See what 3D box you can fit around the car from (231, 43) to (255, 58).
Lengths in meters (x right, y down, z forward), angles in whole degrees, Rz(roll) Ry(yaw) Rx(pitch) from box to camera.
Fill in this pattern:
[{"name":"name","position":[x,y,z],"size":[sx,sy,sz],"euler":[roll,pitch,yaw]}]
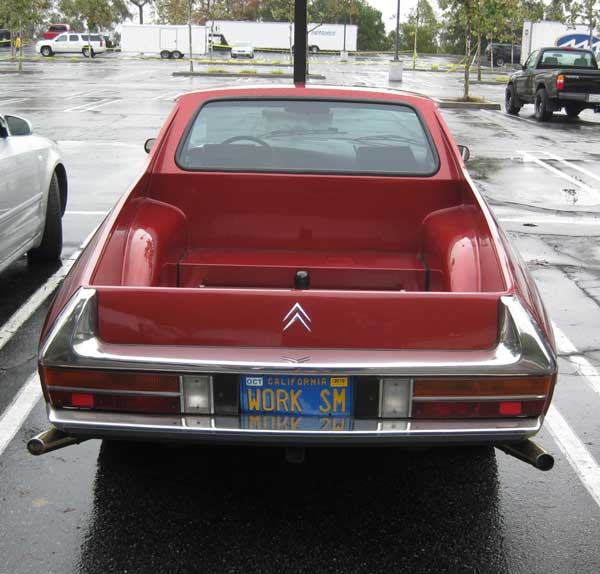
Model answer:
[{"name":"car","position":[-5.144,-20.944,52.945],"size":[1.989,1.226,1.300],"euler":[2,15,6]}]

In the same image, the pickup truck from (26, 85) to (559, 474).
[{"name":"pickup truck","position":[0.018,-0.426,3.458],"size":[1.888,1.254,3.276],"euler":[2,24,1]}]

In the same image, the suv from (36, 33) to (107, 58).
[{"name":"suv","position":[-20.339,-21.537,53.058],"size":[5.346,2.374,2.580],"euler":[-7,17,-27]}]
